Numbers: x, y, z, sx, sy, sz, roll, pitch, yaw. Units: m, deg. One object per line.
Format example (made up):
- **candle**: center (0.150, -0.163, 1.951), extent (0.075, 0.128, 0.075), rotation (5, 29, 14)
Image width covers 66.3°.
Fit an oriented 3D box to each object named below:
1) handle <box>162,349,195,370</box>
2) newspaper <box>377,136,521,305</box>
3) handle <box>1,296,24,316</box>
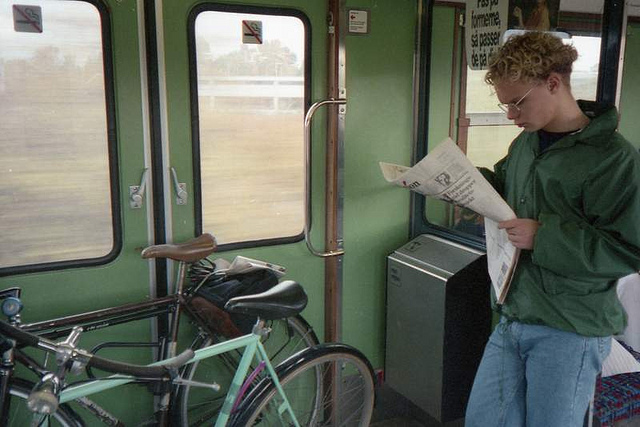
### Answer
- **handle**: center (-0.588, 0.611, 2.060), extent (0.051, 0.041, 0.155), rotation (11, 15, 29)
- **newspaper**: center (0.656, -0.065, 2.332), extent (0.646, 0.854, 0.283), rotation (-20, 42, 35)
- **handle**: center (-1.470, 0.437, 2.348), extent (0.104, 0.099, 0.024), rotation (7, -3, 7)
